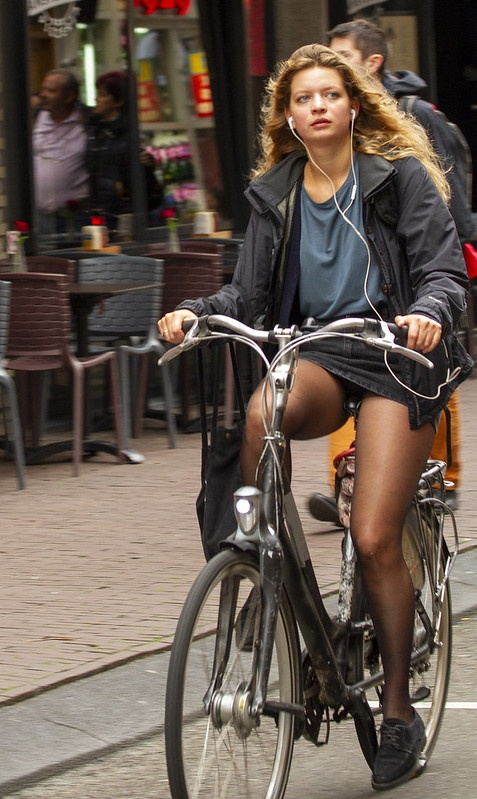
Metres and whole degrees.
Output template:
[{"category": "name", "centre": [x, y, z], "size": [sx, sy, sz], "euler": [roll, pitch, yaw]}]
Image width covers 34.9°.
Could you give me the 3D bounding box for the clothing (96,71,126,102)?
[{"category": "clothing", "centre": [-1.411, -3.552, 8.560], "size": [0.260, 0.336, 0.349], "euler": [3, 3, 15]}]

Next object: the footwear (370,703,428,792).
[{"category": "footwear", "centre": [0.354, 0.715, 1.626], "size": [0.073, 0.100, 0.221], "euler": [-6, 25, 30]}]

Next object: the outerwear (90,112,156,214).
[{"category": "outerwear", "centre": [-1.447, -2.632, 8.496], "size": [0.090, 0.982, 0.607], "euler": [-2, 3, 40]}]

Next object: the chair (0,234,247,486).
[{"category": "chair", "centre": [-1.387, -0.380, 7.171], "size": [1.919, 1.879, 1.955], "euler": [1, 6, 21]}]

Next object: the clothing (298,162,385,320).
[{"category": "clothing", "centre": [0.200, -0.384, 1.937], "size": [0.239, 0.389, 0.220], "euler": [3, -3, -38]}]

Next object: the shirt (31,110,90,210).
[{"category": "shirt", "centre": [-1.881, -2.541, 7.989], "size": [0.088, 0.949, 0.759], "euler": [-3, 2, 34]}]
